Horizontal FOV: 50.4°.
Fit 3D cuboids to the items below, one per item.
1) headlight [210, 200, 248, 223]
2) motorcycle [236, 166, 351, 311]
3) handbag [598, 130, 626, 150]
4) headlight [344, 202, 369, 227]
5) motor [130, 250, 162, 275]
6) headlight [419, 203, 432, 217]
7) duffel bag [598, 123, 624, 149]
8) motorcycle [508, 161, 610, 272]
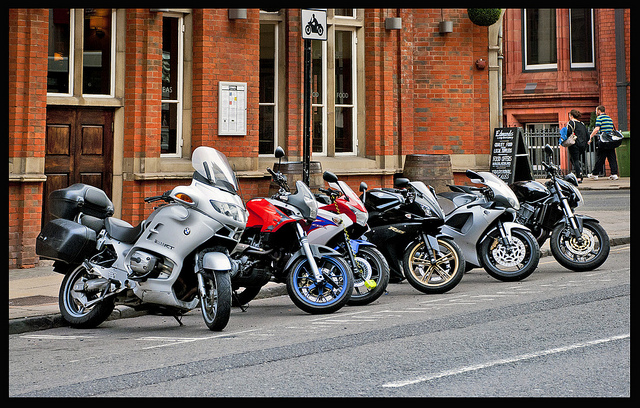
[{"bbox_3d":[-1.136,0.091,8.551,0.475,0.273,0.153,-3,1,-40],"label":"headlight"},{"bbox_3d":[-0.439,0.503,9.266,1.426,1.764,0.734,-3,1,-7],"label":"motorcycle"},{"bbox_3d":[9.997,-2.199,23.338,0.737,0.351,0.789,-5,12,-29],"label":"handbag"},{"bbox_3d":[0.563,0.150,9.752,0.258,0.461,0.146,-39,34,-20],"label":"headlight"},{"bbox_3d":[-2.217,0.738,8.688,0.316,0.262,0.302,14,3,5],"label":"motor"},{"bbox_3d":[1.573,0.090,10.097,0.169,0.163,0.047,-2,1,6],"label":"headlight"},{"bbox_3d":[10.033,-2.230,23.415,0.859,0.571,0.424,-3,1,-16],"label":"duffel bag"},{"bbox_3d":[3.946,0.084,12.416,1.062,1.734,3.021,-3,7,-35],"label":"motorcycle"}]
